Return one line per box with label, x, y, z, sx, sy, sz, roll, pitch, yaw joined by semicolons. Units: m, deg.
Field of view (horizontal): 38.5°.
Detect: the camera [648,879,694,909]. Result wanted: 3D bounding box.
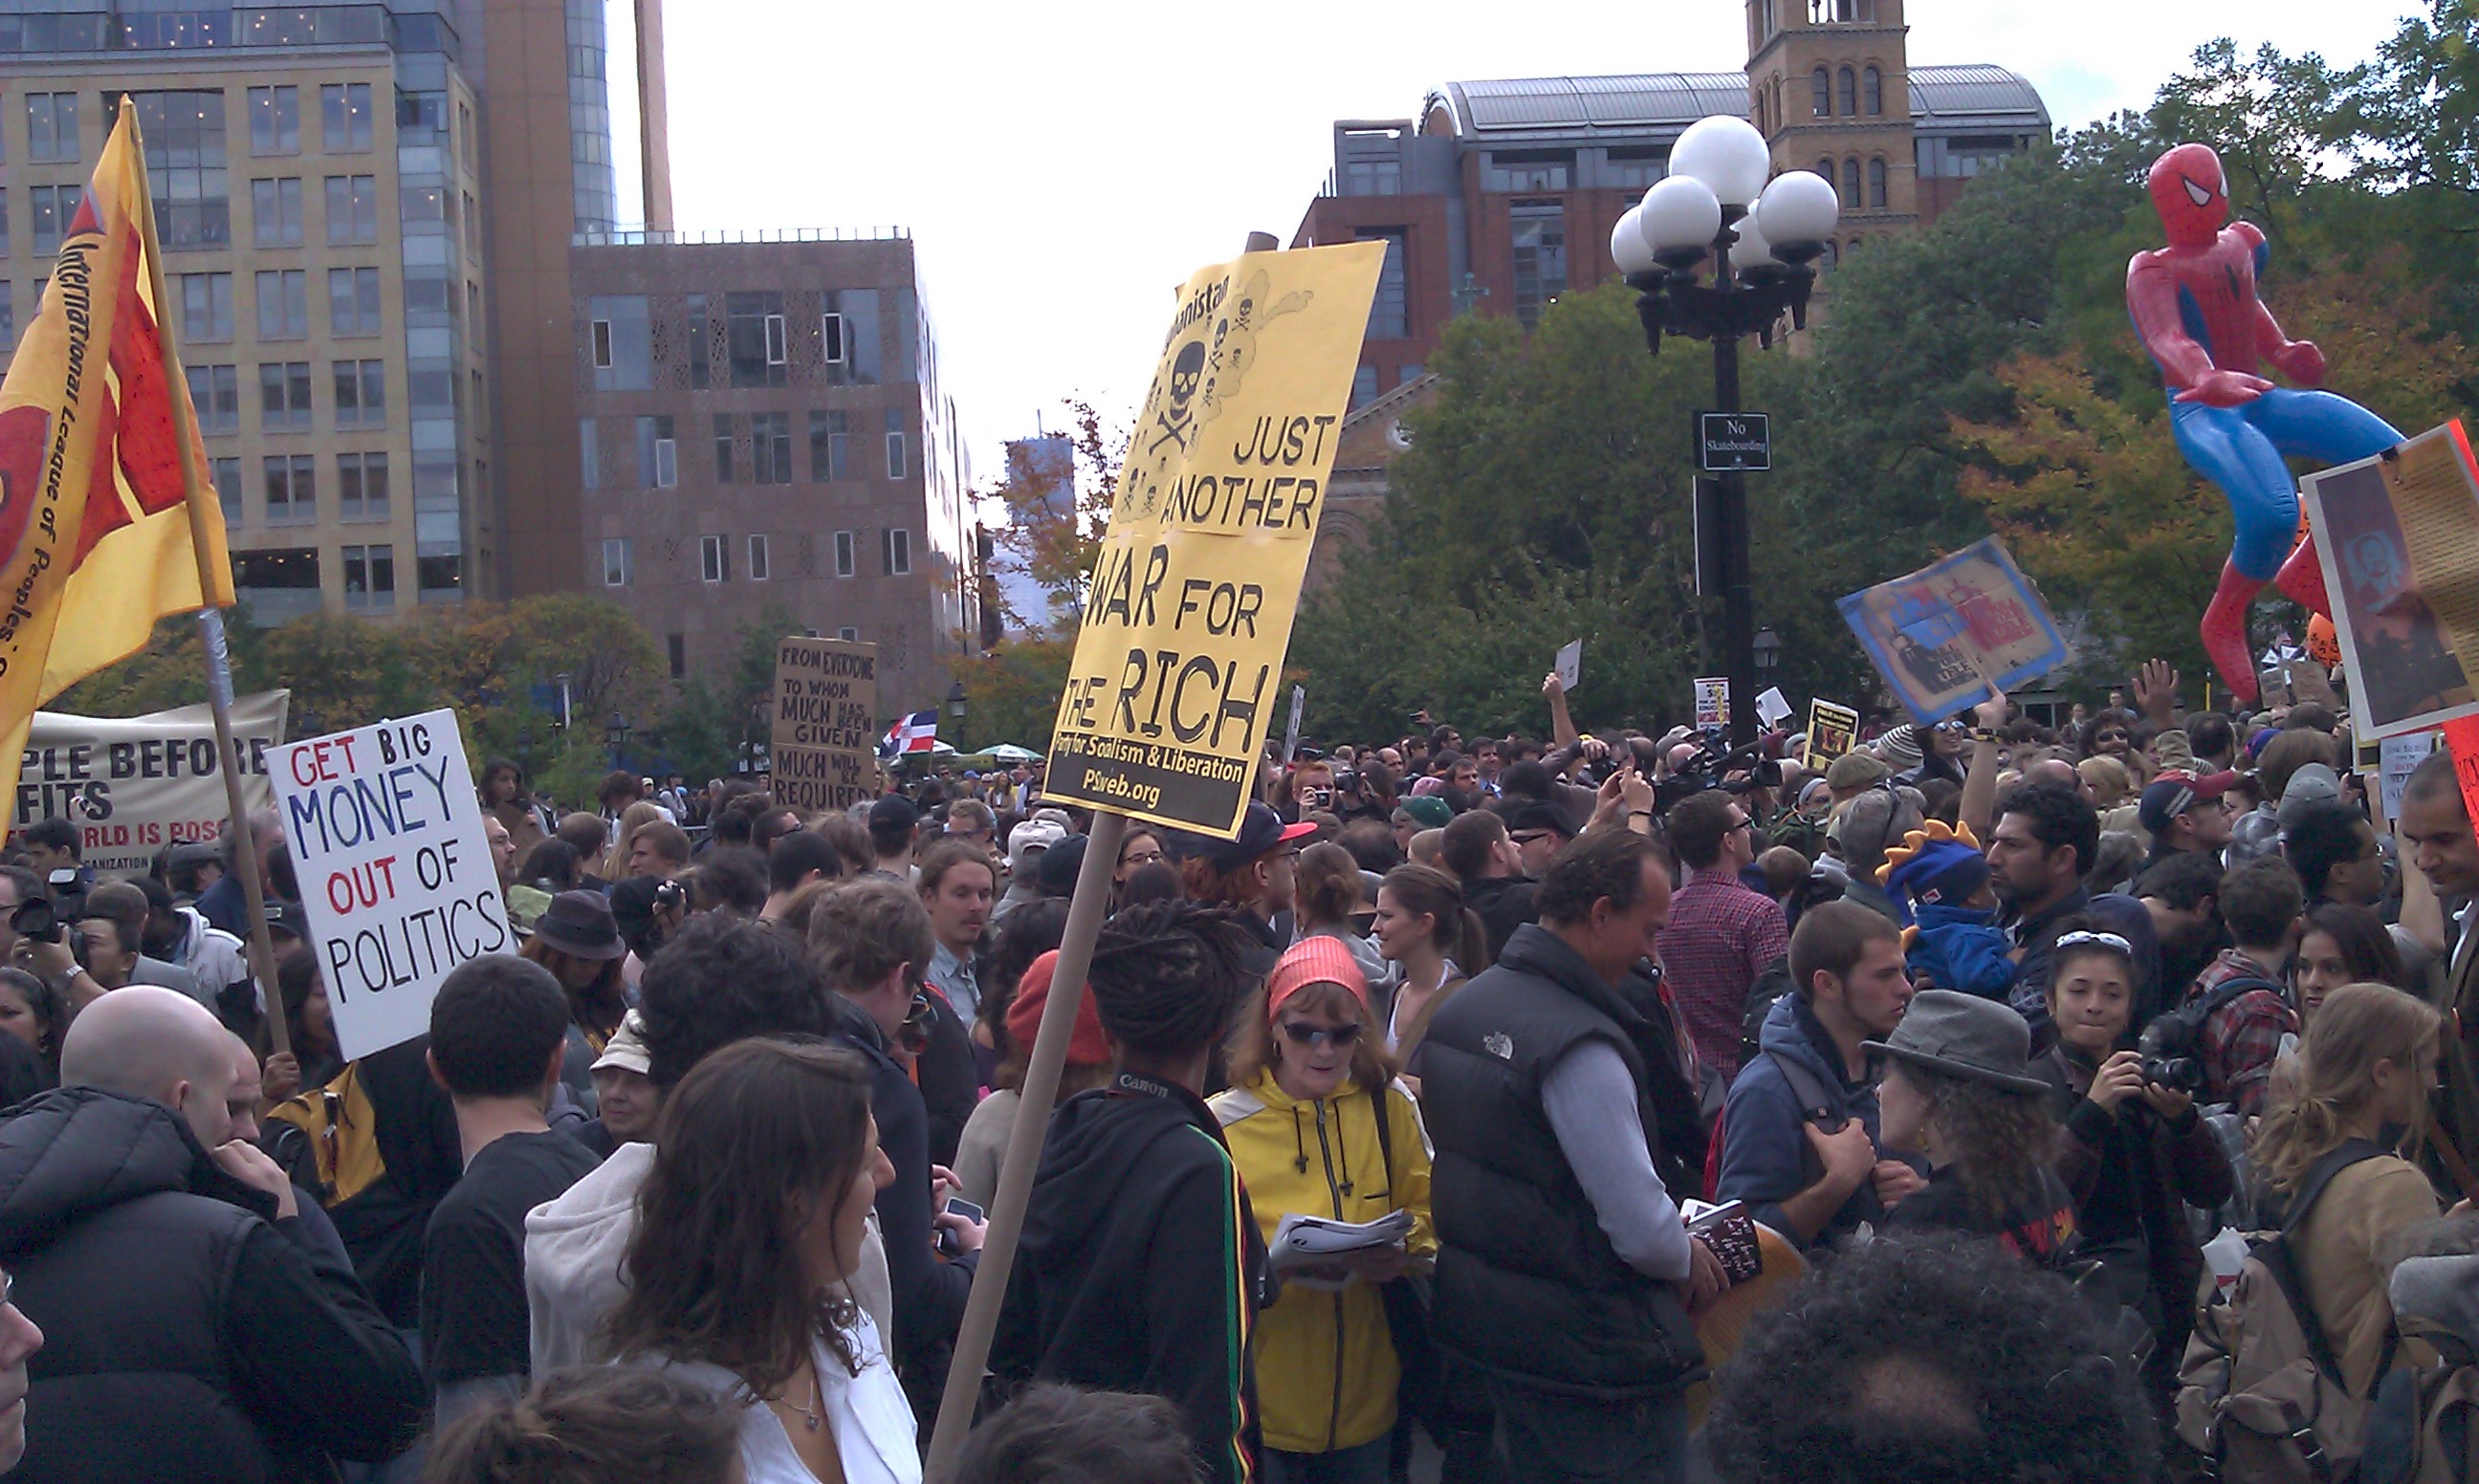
camera;-7.933;2.092;49.132;0.425;0.408;0.603;-3;-3;38
